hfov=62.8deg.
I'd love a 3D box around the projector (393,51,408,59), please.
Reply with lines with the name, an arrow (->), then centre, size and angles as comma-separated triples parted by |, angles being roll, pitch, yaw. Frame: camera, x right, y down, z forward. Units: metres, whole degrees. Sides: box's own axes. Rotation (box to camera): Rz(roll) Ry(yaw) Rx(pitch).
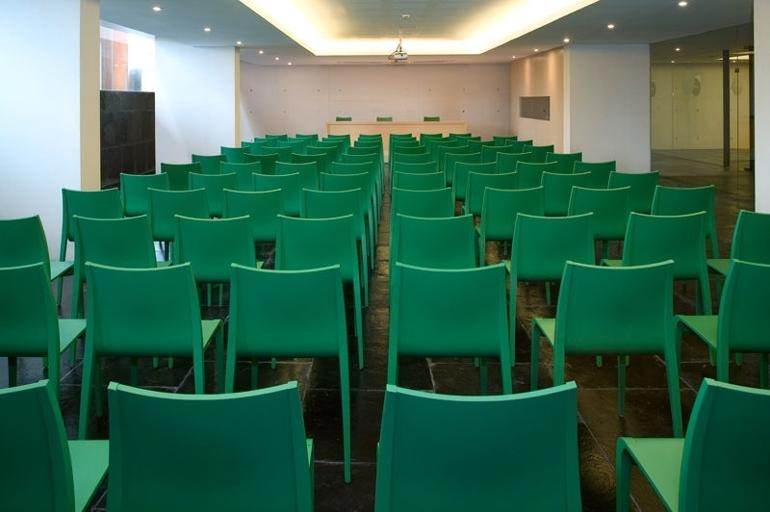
projector -> 0.337, -4.573, 14.326 | 0.305, 0.131, 0.264 | -2, 10, -7
